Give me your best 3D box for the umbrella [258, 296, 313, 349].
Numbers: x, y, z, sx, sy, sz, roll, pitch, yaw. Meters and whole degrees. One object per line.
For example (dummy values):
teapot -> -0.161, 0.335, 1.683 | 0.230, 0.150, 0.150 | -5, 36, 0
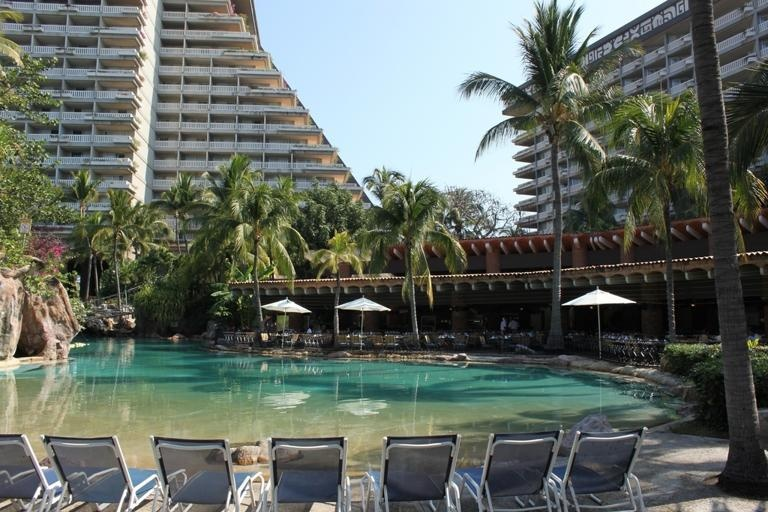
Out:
umbrella -> -5.162, 3.760, 31.365 | 2.616, 3.121, 2.859 | 2, -1, -38
